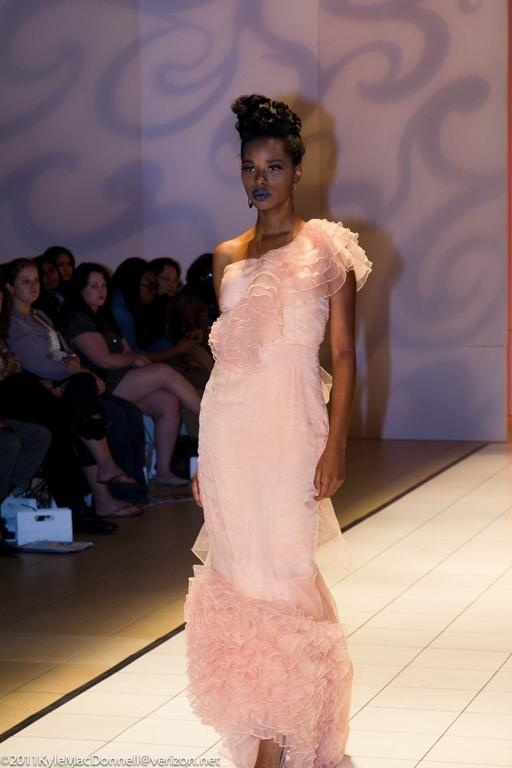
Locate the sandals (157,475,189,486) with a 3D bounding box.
[{"bbox_3d":[-0.580,0.665,4.773,0.217,0.076,0.074,0,0,2],"label":"sandals"}]
